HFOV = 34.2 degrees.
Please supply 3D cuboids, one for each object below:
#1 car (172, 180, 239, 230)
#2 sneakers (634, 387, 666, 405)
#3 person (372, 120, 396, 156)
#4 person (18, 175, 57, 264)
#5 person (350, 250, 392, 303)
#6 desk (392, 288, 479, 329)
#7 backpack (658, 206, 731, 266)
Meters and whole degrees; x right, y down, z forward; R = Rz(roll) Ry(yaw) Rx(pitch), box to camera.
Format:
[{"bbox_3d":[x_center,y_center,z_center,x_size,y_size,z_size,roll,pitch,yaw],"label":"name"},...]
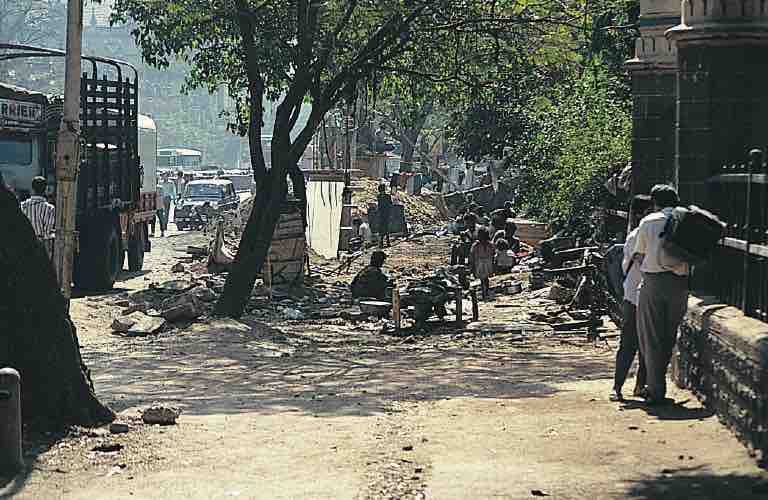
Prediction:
[{"bbox_3d":[-6.260,-1.581,43.313,1.351,1.074,2.348,-1,3,5],"label":"car"},{"bbox_3d":[3.394,1.876,15.952,0.134,0.165,0.387,-1,12,-34],"label":"sneakers"},{"bbox_3d":[-0.019,-4.801,54.840,0.847,1.418,0.550,-4,3,-4],"label":"person"},{"bbox_3d":[-5.943,-0.538,21.426,0.509,1.337,0.747,-4,7,-16],"label":"person"},{"bbox_3d":[-0.205,0.597,25.161,0.773,1.176,0.933,-5,-16,17],"label":"person"},{"bbox_3d":[0.978,0.967,22.230,1.445,0.692,1.263,0,6,13],"label":"desk"},{"bbox_3d":[3.823,-0.162,15.429,0.776,0.705,0.263,0,7,11],"label":"backpack"}]
